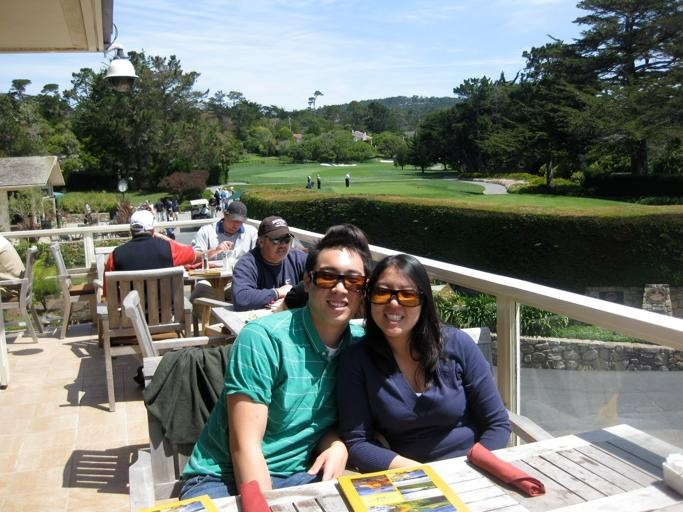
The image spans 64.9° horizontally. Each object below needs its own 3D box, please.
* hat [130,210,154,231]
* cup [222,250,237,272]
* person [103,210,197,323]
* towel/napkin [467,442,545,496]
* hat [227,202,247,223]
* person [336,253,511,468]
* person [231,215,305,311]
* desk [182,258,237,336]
[{"bbox_3d":[-2.000,-0.384,5.538,0.230,0.205,0.372,3,6,-7],"label":"hat"},{"bbox_3d":[-1.285,0.059,6.136,0.204,0.242,0.202,0,11,0],"label":"cup"},{"bbox_3d":[-1.917,0.152,5.587,0.948,1.258,0.557,-9,18,-26],"label":"person"},{"bbox_3d":[0.597,0.773,1.971,0.109,0.059,0.176,-7,15,-43],"label":"towel/napkin"},{"bbox_3d":[-1.254,-0.561,6.504,0.191,0.164,0.279,10,21,-39],"label":"hat"},{"bbox_3d":[0.331,0.579,2.516,0.816,1.084,0.807,-7,-2,11],"label":"person"},{"bbox_3d":[-0.667,0.072,4.758,0.800,0.697,0.453,-13,35,-42],"label":"person"},{"bbox_3d":[-1.511,0.390,6.068,0.797,0.826,0.774,2,8,6],"label":"desk"}]
